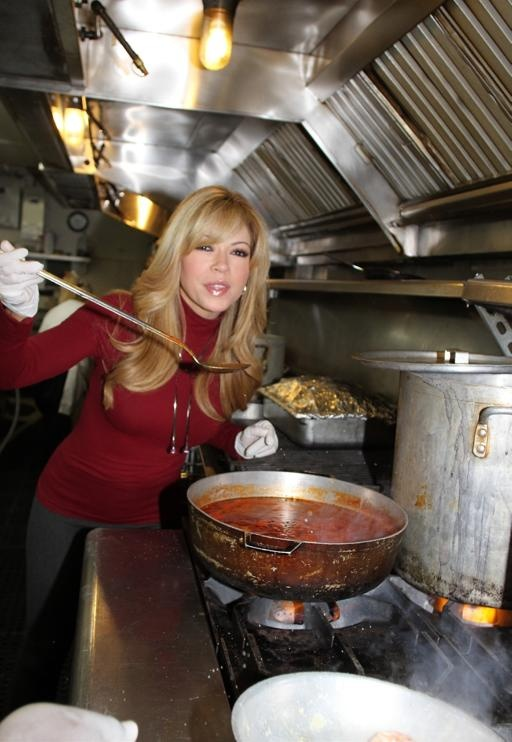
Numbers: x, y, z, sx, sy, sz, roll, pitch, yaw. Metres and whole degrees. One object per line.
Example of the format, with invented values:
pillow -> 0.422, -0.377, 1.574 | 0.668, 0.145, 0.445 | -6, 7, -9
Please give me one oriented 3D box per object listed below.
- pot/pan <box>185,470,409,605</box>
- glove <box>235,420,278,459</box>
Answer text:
pot/pan -> 0.068, 0.230, 0.915 | 0.267, 0.105, 0.277 | 7, -5, 3
glove -> -0.001, 0.205, 1.577 | 0.083, 0.105, 0.139 | 23, -12, -22
